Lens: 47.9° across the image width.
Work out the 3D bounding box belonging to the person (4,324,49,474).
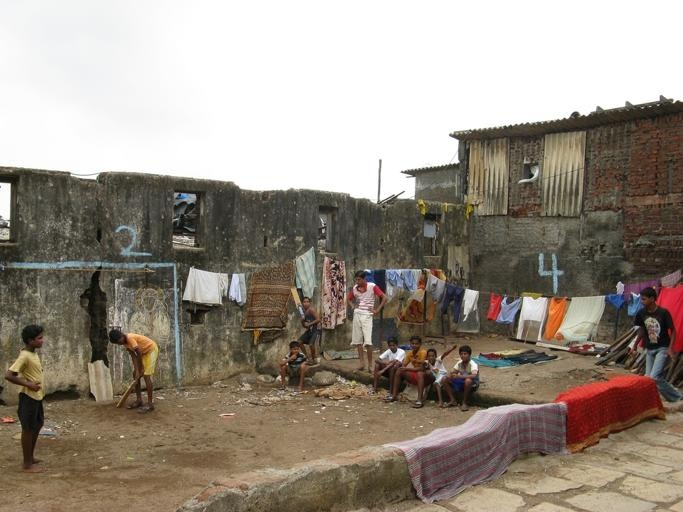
[{"bbox_3d":[-4.324,1.930,10.593,0.482,2.005,0.485,-4,9,-23],"label":"person"}]

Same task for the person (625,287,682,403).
[{"bbox_3d":[5.113,1.432,12.444,0.753,1.905,0.632,3,9,25],"label":"person"}]

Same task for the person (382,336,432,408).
[{"bbox_3d":[1.181,2.012,13.772,0.634,1.200,0.831,4,-4,2],"label":"person"}]

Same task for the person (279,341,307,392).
[{"bbox_3d":[-0.973,2.095,15.155,0.535,0.870,0.816,-1,8,1],"label":"person"}]

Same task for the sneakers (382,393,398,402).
[{"bbox_3d":[0.862,2.552,13.913,0.265,0.132,0.100,-2,0,-12],"label":"sneakers"}]

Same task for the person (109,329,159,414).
[{"bbox_3d":[-3.619,1.883,13.512,0.740,1.513,1.262,-3,8,-14],"label":"person"}]

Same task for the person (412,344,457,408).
[{"bbox_3d":[1.600,2.027,13.550,0.623,1.099,0.611,-4,10,-33],"label":"person"}]

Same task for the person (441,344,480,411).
[{"bbox_3d":[2.042,2.047,13.320,0.638,1.079,0.558,0,8,8],"label":"person"}]
